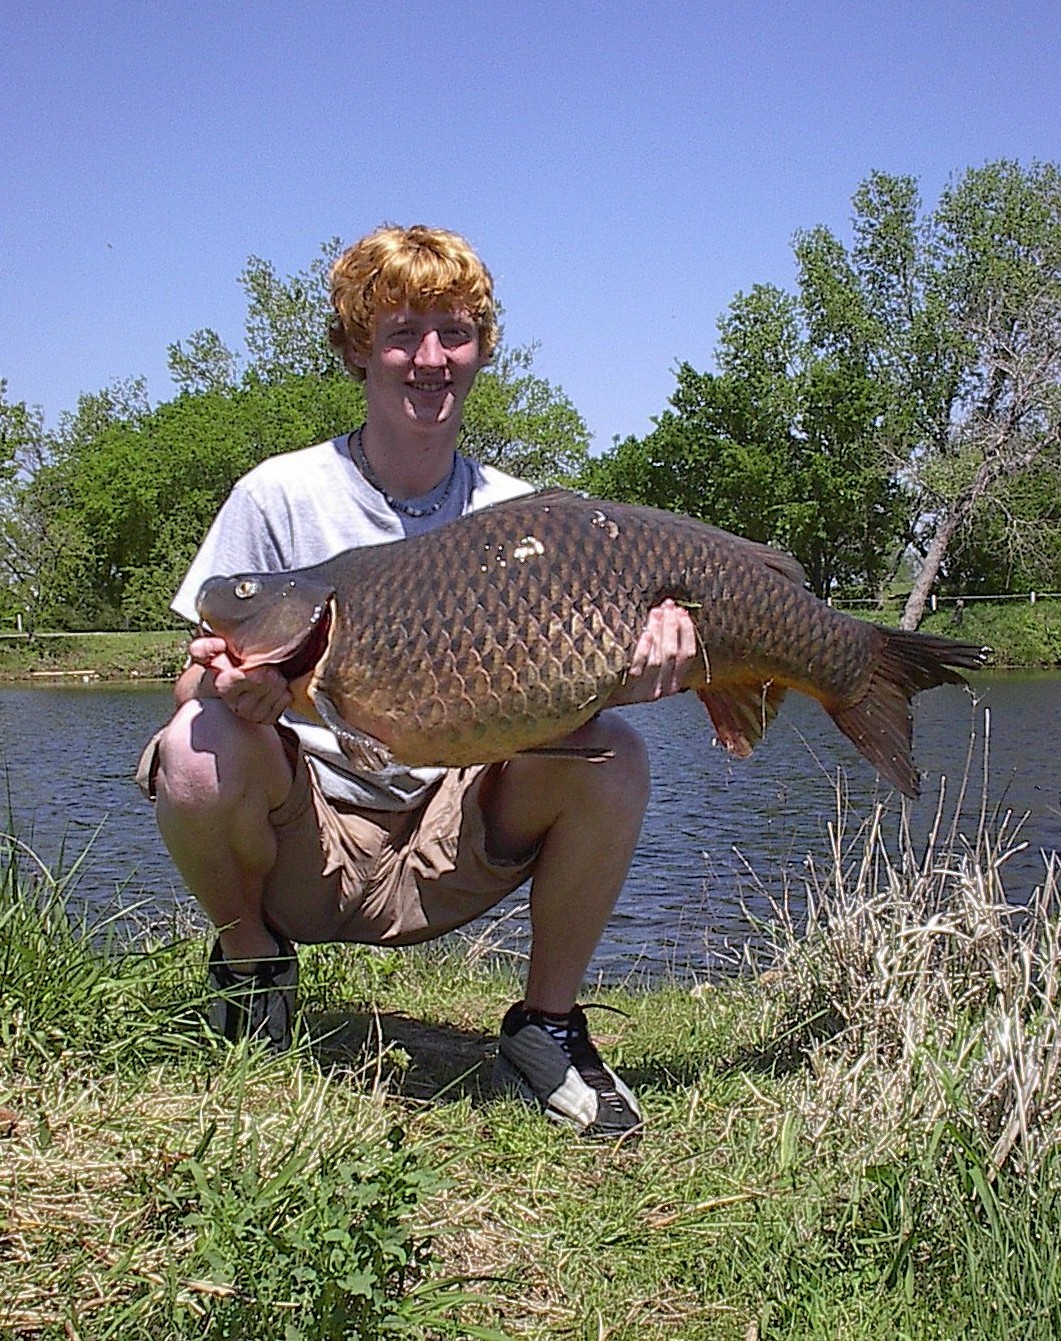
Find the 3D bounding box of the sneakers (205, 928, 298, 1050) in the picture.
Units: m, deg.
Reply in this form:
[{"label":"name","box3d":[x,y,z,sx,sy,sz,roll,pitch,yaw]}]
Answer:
[{"label":"sneakers","box3d":[-0.647,0.710,2.761,0.111,0.198,0.320,-25,-36,24]}]

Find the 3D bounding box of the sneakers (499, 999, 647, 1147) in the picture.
[{"label":"sneakers","box3d":[0.098,0.895,2.847,0.209,0.197,0.529,4,8,-27]}]

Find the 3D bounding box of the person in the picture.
[{"label":"person","box3d":[-0.276,-0.022,2.942,1.360,1.967,1.142,3,10,2]}]
